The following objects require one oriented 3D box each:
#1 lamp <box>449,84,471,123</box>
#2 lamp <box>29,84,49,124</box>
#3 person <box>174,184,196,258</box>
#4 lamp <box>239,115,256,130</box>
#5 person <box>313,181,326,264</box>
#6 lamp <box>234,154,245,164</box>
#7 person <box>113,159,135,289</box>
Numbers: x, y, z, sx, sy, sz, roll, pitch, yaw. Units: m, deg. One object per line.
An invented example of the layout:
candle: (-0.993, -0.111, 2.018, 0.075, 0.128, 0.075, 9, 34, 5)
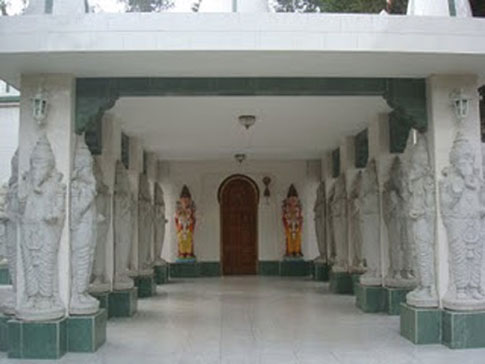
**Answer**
lamp: (3.234, -1.146, 8.629, 0.253, 0.558, 0.235, -2, -13, 16)
lamp: (-2.923, -1.126, 8.414, 0.242, 0.577, 0.222, 0, 0, -21)
person: (-1.490, 1.096, 15.377, 0.519, 1.941, 0.293, 0, 0, -10)
lamp: (0.100, -1.149, 11.123, 0.219, 0.184, 0.230, -1, 3, 17)
person: (1.960, 1.012, 14.526, 0.311, 1.399, 0.570, 0, 0, 7)
lamp: (-0.040, -0.579, 14.871, 0.194, 0.155, 0.203, -1, -3, 0)
person: (-2.098, 0.747, 10.257, 0.342, 2.260, 0.376, 0, 0, -12)
